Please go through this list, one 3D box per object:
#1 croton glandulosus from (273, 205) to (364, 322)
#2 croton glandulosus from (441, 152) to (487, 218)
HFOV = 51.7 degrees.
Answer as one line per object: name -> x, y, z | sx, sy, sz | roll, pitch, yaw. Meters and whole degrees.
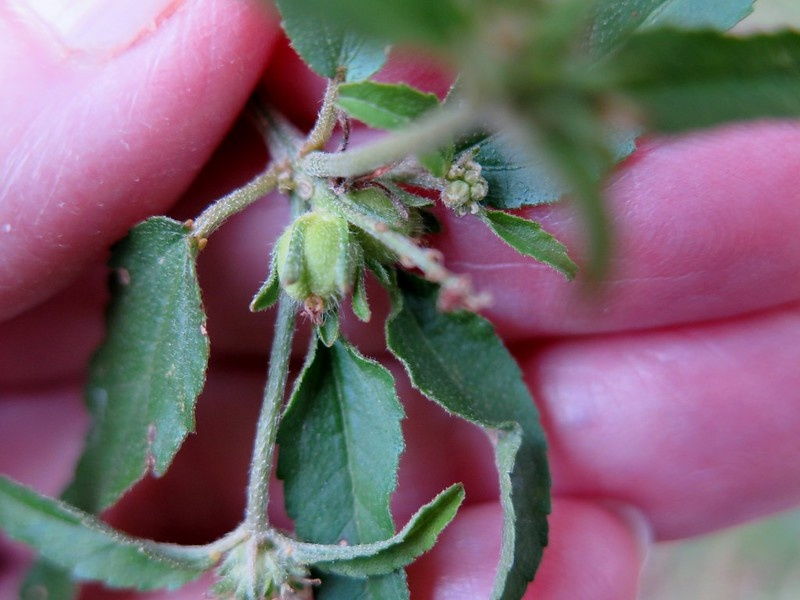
croton glandulosus -> -0.135, -0.053, 1.321 | 0.112, 0.100, 0.172 | 2, 86, 1
croton glandulosus -> 0.109, -0.196, 1.418 | 0.080, 0.100, 0.041 | 8, 20, 13
